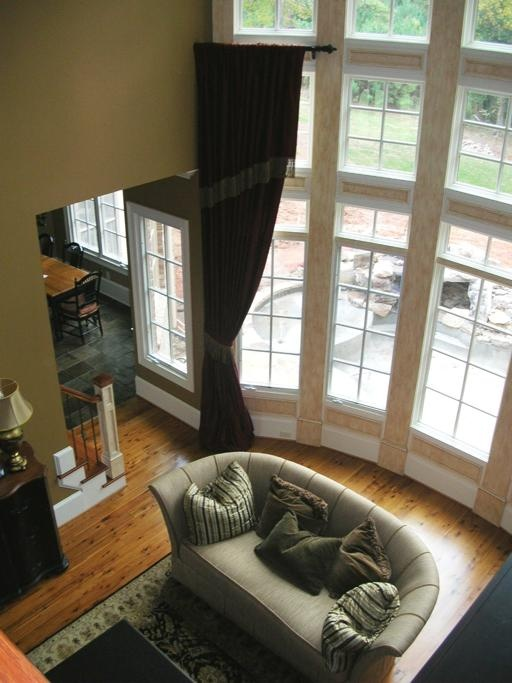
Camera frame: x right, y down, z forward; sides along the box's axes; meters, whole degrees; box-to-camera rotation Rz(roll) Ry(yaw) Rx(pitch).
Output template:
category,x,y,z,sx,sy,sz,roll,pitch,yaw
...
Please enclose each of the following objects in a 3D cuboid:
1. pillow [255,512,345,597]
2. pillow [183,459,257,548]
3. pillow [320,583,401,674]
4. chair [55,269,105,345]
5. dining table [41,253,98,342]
category,x,y,z,sx,sy,sz,roll,pitch,yaw
pillow,0.361,1.601,4.054,0.585,0.186,0.660,-19,30,-40
pillow,-0.302,1.399,4.335,0.654,0.526,0.347,-7,0,-37
pillow,0.689,1.878,3.424,0.328,0.364,0.570,22,32,39
chair,-2.765,-0.614,8.029,0.711,1.040,0.693,6,24,11
dining table,-2.916,-0.537,8.283,0.748,0.969,1.257,-14,10,-22
